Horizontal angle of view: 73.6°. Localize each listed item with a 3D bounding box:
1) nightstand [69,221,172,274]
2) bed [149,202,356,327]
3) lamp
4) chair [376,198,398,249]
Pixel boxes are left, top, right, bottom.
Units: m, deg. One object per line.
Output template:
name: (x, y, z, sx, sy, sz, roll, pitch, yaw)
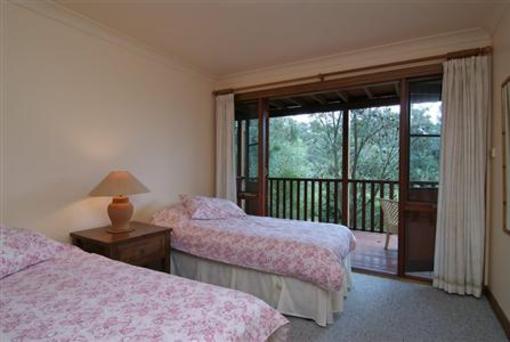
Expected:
nightstand: (-1.496, 0.809, 3.873, 0.682, 0.687, 0.694, 3, 5, 27)
bed: (0.043, 0.984, 4.023, 1.851, 0.682, 1.154, 0, 1, 27)
lamp: (-1.605, 0.356, 4.026, 0.702, 0.708, 0.726, 0, -2, -38)
chair: (2.152, 0.854, 5.571, 0.263, 0.872, 0.411, 1, 10, 13)
